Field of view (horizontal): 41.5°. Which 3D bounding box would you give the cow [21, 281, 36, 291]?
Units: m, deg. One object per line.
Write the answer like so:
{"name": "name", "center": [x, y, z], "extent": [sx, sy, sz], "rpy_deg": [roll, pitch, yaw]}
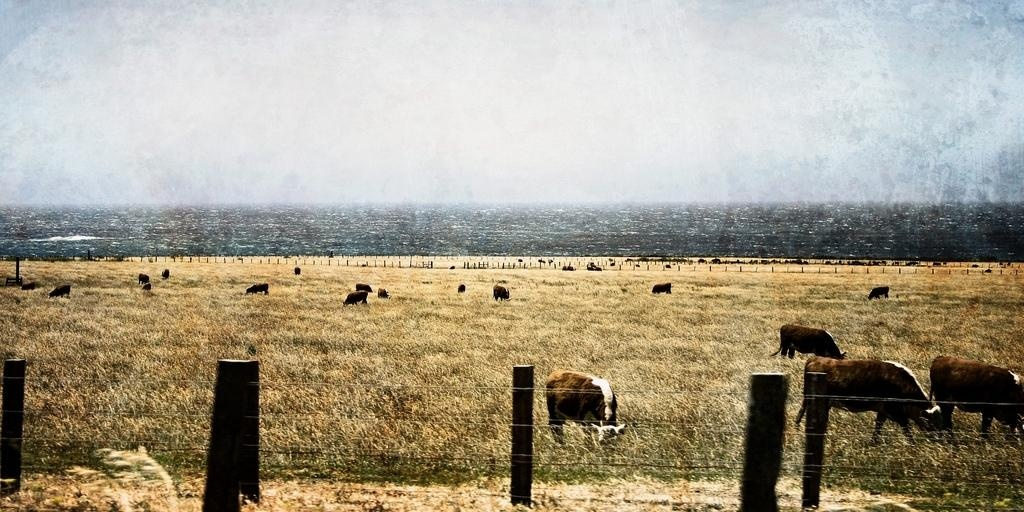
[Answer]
{"name": "cow", "center": [-71.937, 4.292, 199.865], "extent": [1.943, 1.169, 2.904], "rpy_deg": [1, -1, -11]}

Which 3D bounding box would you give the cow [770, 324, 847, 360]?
{"name": "cow", "center": [41.370, 12.320, 185.439], "extent": [10.449, 4.942, 2.916], "rpy_deg": [8, 13, 25]}
